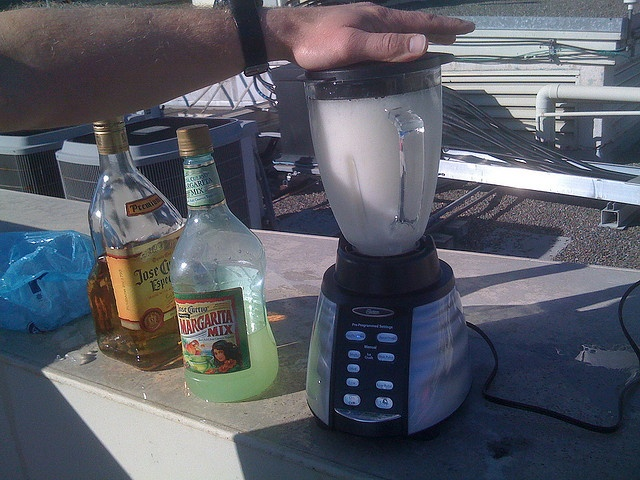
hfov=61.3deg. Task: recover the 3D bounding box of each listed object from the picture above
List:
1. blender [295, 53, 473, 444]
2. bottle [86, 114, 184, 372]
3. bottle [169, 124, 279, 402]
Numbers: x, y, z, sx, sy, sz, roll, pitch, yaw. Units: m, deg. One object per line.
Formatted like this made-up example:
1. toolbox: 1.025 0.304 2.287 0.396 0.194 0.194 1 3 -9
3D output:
1. blender: 0.077 0.003 0.799 0.343 0.512 0.225 5 22 1
2. bottle: -0.308 0.011 0.898 0.205 0.389 0.186 -6 18 2
3. bottle: -0.155 0.034 0.773 0.150 0.393 0.173 -8 29 -5
